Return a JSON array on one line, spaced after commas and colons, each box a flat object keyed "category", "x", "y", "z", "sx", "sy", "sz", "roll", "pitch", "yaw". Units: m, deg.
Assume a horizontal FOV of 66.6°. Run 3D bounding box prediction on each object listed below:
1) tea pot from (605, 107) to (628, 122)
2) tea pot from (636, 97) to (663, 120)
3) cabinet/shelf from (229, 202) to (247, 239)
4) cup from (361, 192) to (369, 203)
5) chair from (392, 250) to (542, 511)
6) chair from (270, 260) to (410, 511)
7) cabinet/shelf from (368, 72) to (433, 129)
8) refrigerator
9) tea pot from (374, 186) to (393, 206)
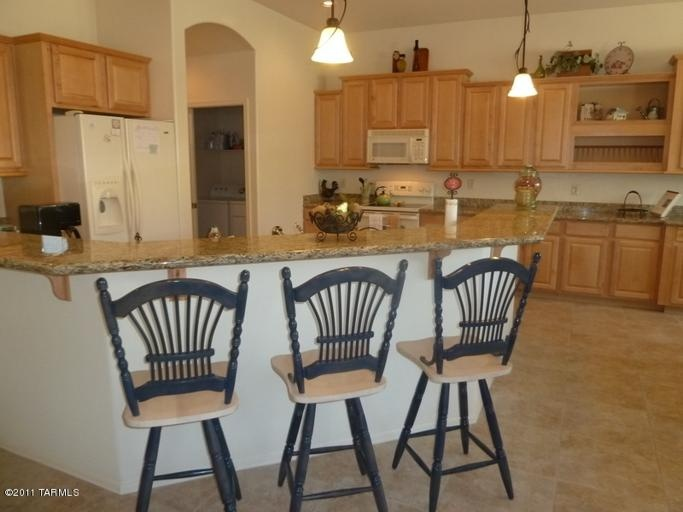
[{"category": "tea pot", "x": 2.961, "y": -1.513, "z": 5.608, "sx": 0.162, "sy": 0.124, "sz": 0.197, "roll": -2, "pitch": 14, "yaw": -1}, {"category": "tea pot", "x": 3.301, "y": -1.574, "z": 5.562, "sx": 0.261, "sy": 0.240, "sz": 0.324, "roll": 4, "pitch": 13, "yaw": 29}, {"category": "cabinet/shelf", "x": -1.432, "y": -0.514, "z": 7.244, "sx": 0.200, "sy": 0.475, "sz": 0.381, "roll": -10, "pitch": 14, "yaw": -34}, {"category": "cup", "x": 0.273, "y": -0.747, "z": 6.749, "sx": 0.127, "sy": 0.144, "sz": 0.126, "roll": 2, "pitch": 8, "yaw": 0}, {"category": "chair", "x": 0.737, "y": 0.594, "z": 2.975, "sx": 0.697, "sy": 1.335, "sz": 1.076, "roll": 9, "pitch": 16, "yaw": 44}, {"category": "chair", "x": -0.022, "y": 0.654, "z": 2.683, "sx": 0.690, "sy": 1.325, "sz": 0.555, "roll": -4, "pitch": 12, "yaw": -9}, {"category": "cabinet/shelf", "x": 0.740, "y": -1.906, "z": 6.326, "sx": 0.679, "sy": 0.573, "sz": 0.241, "roll": 4, "pitch": 10, "yaw": 25}, {"category": "refrigerator", "x": -1.980, "y": -0.677, "z": 4.703, "sx": 1.042, "sy": 1.131, "sz": 0.299, "roll": -13, "pitch": 16, "yaw": -43}, {"category": "tea pot", "x": 0.498, "y": -0.766, "z": 6.644, "sx": 0.285, "sy": 0.273, "sz": 0.202, "roll": 0, "pitch": 5, "yaw": -31}]
